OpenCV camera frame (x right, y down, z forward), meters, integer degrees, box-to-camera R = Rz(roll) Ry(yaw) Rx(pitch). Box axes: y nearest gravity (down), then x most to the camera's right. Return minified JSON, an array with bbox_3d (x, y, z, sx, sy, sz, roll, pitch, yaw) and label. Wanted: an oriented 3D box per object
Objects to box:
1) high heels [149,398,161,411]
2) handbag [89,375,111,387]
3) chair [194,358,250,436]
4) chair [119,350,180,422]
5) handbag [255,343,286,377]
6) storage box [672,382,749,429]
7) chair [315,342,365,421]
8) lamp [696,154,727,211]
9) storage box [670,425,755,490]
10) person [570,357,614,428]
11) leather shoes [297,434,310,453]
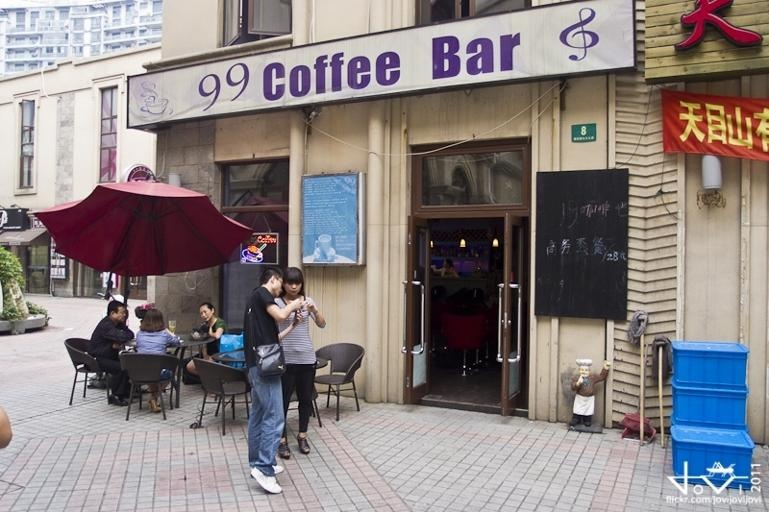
[{"bbox_3d":[-3.715,2.431,11.869,0.128,0.142,0.352,2,-10,-8],"label":"high heels"},{"bbox_3d":[-4.953,2.192,12.773,0.300,0.206,0.292,-1,-18,8],"label":"handbag"},{"bbox_3d":[-2.546,2.007,11.326,0.883,1.165,1.245,-2,10,-12],"label":"chair"},{"bbox_3d":[-3.736,2.015,11.684,0.840,1.065,0.793,0,4,-13],"label":"chair"},{"bbox_3d":[-1.490,1.343,9.422,0.397,0.407,0.181,-2,-14,-23],"label":"handbag"},{"bbox_3d":[4.453,2.133,10.290,1.073,0.558,1.131,0,-7,28],"label":"storage box"},{"bbox_3d":[-0.774,1.957,11.602,0.817,1.044,0.776,0,1,9],"label":"chair"},{"bbox_3d":[4.814,-1.095,10.714,0.361,0.775,0.218,-1,9,-7],"label":"lamp"},{"bbox_3d":[4.272,2.655,9.591,0.788,0.494,0.809,0,-1,18],"label":"storage box"},{"bbox_3d":[3.080,2.087,11.018,0.587,1.085,0.246,-5,11,-29],"label":"person"},{"bbox_3d":[-1.123,2.671,10.280,0.114,0.125,0.312,2,-2,-26],"label":"leather shoes"}]
